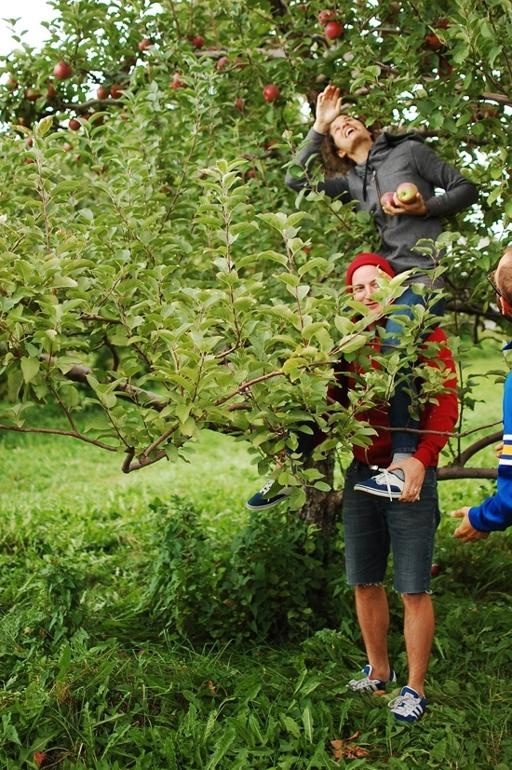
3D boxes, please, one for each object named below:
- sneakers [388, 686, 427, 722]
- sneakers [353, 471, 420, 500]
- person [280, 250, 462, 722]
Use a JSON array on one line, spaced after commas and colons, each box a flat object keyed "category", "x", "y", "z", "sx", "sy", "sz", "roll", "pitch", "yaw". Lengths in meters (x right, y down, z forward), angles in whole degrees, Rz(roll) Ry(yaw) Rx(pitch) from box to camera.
[{"category": "sneakers", "x": 0.561, "y": 1.186, "z": 2.587, "sx": 0.084, "sy": 0.070, "sz": 0.161, "roll": -8, "pitch": -17, "yaw": 32}, {"category": "sneakers", "x": 0.472, "y": 0.362, "z": 2.554, "sx": 0.218, "sy": 0.098, "sz": 0.088, "roll": 4, "pitch": 9, "yaw": 20}, {"category": "person", "x": 0.520, "y": 0.358, "z": 2.716, "sx": 0.524, "sy": 1.770, "sz": 0.555, "roll": 4, "pitch": 4, "yaw": 43}]
